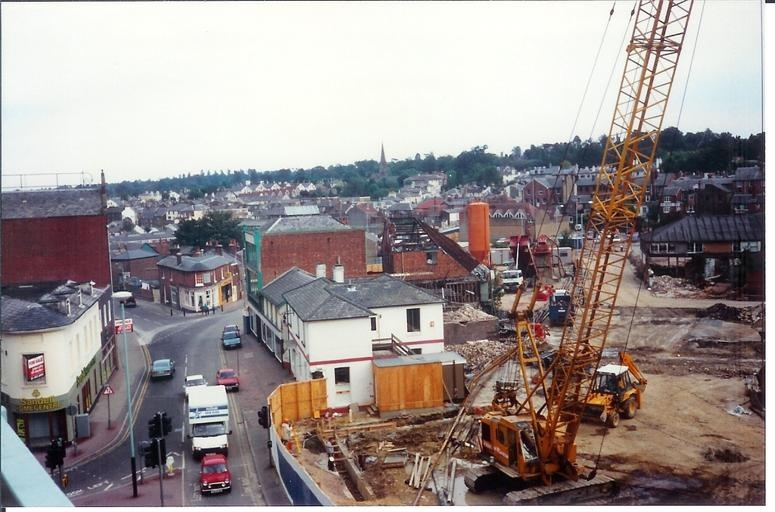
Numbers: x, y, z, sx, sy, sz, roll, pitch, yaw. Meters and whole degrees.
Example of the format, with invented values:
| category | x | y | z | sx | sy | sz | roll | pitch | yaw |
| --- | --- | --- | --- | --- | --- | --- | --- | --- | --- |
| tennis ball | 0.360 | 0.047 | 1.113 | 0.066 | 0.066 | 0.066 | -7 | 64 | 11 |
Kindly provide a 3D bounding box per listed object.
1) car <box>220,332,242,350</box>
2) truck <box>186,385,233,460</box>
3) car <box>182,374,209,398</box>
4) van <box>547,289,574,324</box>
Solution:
| category | x | y | z | sx | sy | sz | roll | pitch | yaw |
| --- | --- | --- | --- | --- | --- | --- | --- | --- | --- |
| car | -10.187 | 5.615 | 47.021 | 1.154 | 0.916 | 1.584 | -5 | 5 | -16 |
| truck | -8.446 | 7.542 | 33.040 | 2.010 | 2.422 | 3.510 | 2 | 15 | -24 |
| car | -10.261 | 6.949 | 38.521 | 1.289 | 1.099 | 2.185 | -2 | -9 | -18 |
| van | 11.011 | 3.357 | 46.651 | 1.442 | 2.053 | 2.618 | 6 | 11 | -6 |
